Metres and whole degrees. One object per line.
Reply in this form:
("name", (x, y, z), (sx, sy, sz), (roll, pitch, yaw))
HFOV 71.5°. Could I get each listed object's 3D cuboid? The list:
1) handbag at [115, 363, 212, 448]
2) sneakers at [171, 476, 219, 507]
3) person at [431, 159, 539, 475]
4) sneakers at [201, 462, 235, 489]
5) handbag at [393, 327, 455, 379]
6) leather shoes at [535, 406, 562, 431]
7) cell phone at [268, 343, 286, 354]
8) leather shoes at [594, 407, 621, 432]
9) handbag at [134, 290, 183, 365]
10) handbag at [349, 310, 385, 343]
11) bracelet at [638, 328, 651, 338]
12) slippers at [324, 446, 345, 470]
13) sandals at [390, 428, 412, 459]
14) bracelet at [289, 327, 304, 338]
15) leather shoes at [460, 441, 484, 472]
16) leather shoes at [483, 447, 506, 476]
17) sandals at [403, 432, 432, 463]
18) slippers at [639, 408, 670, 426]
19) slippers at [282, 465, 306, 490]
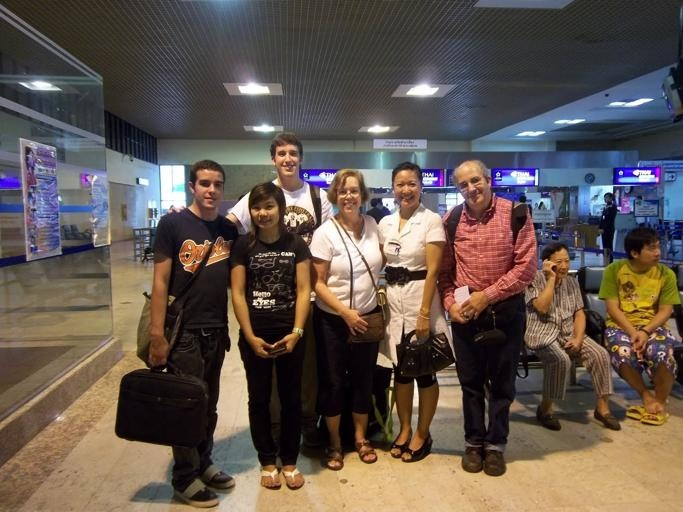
("handbag", (-1.132, 0.973, 3.099), (0.739, 0.580, 0.281), (2, 0, 2))
("sneakers", (-1.003, 1.609, 3.247), (0.309, 0.112, 0.149), (1, -2, 26))
("person", (1.045, 0.438, 3.583), (0.685, 2.241, 0.664), (5, 13, 25))
("sneakers", (-0.919, 1.582, 3.459), (0.298, 0.112, 0.108), (-1, 3, 28))
("handbag", (0.597, 0.712, 3.537), (0.386, 0.332, 0.156), (-13, -13, -5))
("leather shoes", (1.779, 1.412, 4.093), (0.097, 0.092, 0.244), (-4, 0, -3))
("cell phone", (-0.430, 0.633, 3.242), (0.075, 0.017, 0.073), (-9, 17, 3))
("leather shoes", (2.283, 1.405, 4.105), (0.089, 0.090, 0.236), (-9, 5, -13))
("handbag", (-1.283, 0.492, 3.253), (0.390, 0.452, 0.255), (8, 14, 36))
("handbag", (0.176, 0.517, 3.452), (0.261, 0.301, 0.134), (-1, -6, -5))
("bracelet", (2.741, 0.692, 4.310), (0.113, 0.071, 0.096), (-11, 15, -43))
("slippers", (-0.053, 1.528, 3.584), (0.126, 0.086, 0.231), (-1, -11, 2))
("sandals", (0.463, 1.470, 3.735), (0.087, 0.067, 0.271), (1, 13, 11))
("bracelet", (-0.307, 0.534, 3.340), (0.079, 0.049, 0.078), (12, 0, -42))
("leather shoes", (0.986, 1.513, 3.567), (0.154, 0.135, 0.182), (2, 12, 14))
("leather shoes", (1.131, 1.517, 3.511), (0.158, 0.145, 0.150), (2, 12, 14))
("sandals", (0.594, 1.506, 3.706), (0.107, 0.114, 0.311), (-7, -8, 44))
("slippers", (2.732, 1.399, 4.111), (0.297, 0.076, 0.137), (-1, 11, -4))
("slippers", (-0.337, 1.569, 3.376), (0.100, 0.050, 0.193), (0, 5, -23))
